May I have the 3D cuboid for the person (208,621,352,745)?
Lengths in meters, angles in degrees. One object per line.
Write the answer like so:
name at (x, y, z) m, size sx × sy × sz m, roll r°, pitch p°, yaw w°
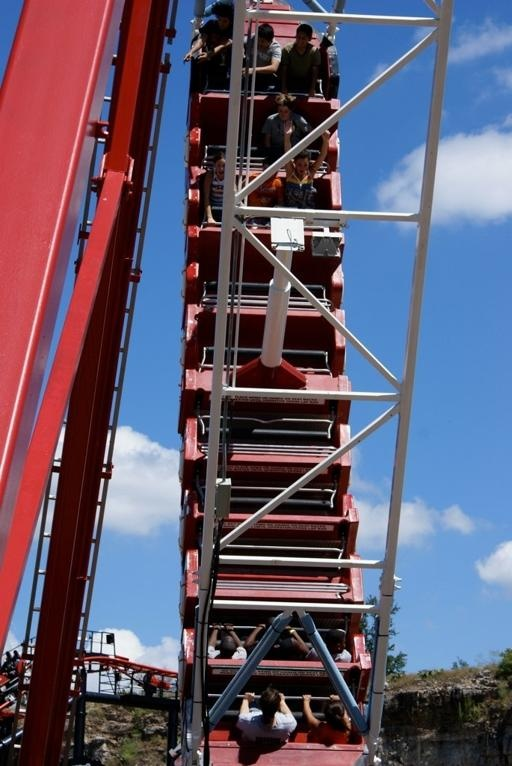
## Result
person at (0.250, 2.555, 9.101) m, size 1.548 × 1.005 × 1.673 m, roll 10°, pitch -21°, yaw -16°
